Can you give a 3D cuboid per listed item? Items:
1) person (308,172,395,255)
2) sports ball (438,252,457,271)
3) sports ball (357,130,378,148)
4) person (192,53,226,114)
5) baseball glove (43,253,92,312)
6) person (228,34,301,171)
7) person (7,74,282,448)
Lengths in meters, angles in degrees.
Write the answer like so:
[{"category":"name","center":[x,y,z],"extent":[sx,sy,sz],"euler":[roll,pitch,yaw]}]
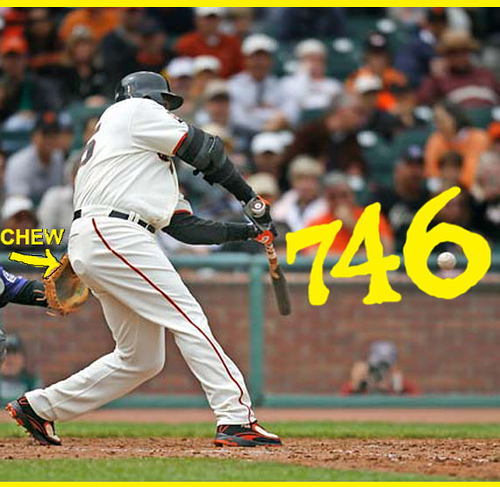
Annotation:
[{"category":"person","center":[0.913,-0.295,8.760],"extent":[0.905,0.679,0.252],"euler":[-2,-5,-25]},{"category":"sports ball","center":[1.352,0.137,6.926],"extent":[0.147,0.141,0.121],"euler":[6,47,6]},{"category":"sports ball","center":[1.169,-1.041,9.953],"extent":[0.277,0.175,0.104],"euler":[-23,25,-40]},{"category":"person","center":[-0.460,-1.722,10.594],"extent":[0.482,0.605,0.370],"euler":[1,-9,-5]},{"category":"baseball glove","center":[-1.062,0.226,5.763],"extent":[0.178,0.322,0.300],"euler":[-8,-5,36]},{"category":"person","center":[0.161,-1.431,10.459],"extent":[0.848,1.423,0.889],"euler":[0,22,12]},{"category":"person","center":[-0.492,0.137,5.645],"extent":[1.220,2.102,1.286],"euler":[4,24,30]}]
